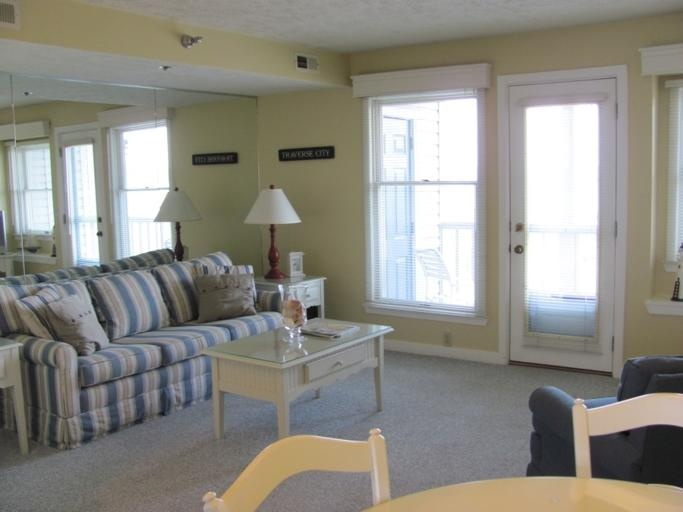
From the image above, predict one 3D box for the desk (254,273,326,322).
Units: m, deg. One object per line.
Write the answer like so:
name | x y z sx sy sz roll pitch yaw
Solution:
desk | -0.424 0.298 5.516 0.451 0.603 0.614 2 5 31
